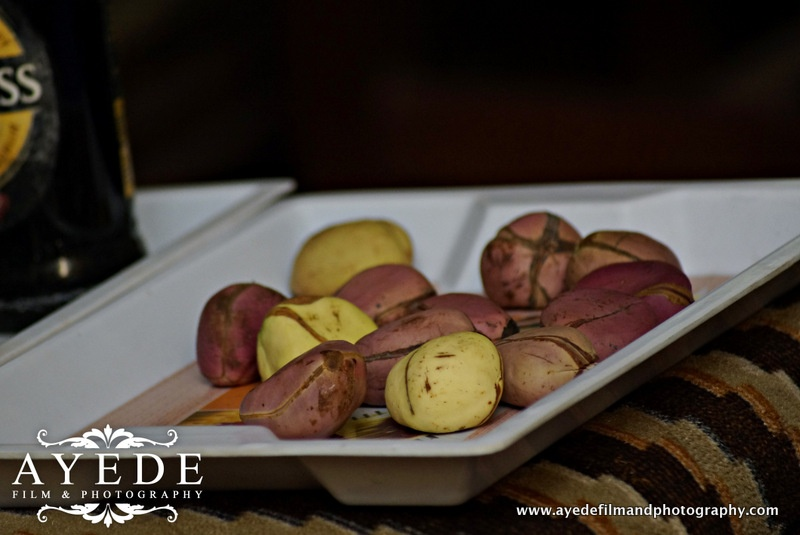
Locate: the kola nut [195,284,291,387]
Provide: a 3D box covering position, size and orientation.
[{"bbox_3d":[-0.102,0.039,0.454,0.047,0.063,0.059,-9,102,-38],"label":"kola nut"}]

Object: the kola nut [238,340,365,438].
[{"bbox_3d":[-0.047,0.065,0.370,0.065,0.032,0.042,-20,65,-19],"label":"kola nut"}]

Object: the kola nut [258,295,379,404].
[{"bbox_3d":[-0.050,0.042,0.427,0.062,0.056,0.052,-5,96,-27],"label":"kola nut"}]

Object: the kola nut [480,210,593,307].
[{"bbox_3d":[0.092,-0.009,0.519,0.080,0.052,0.062,-4,94,-14],"label":"kola nut"}]
